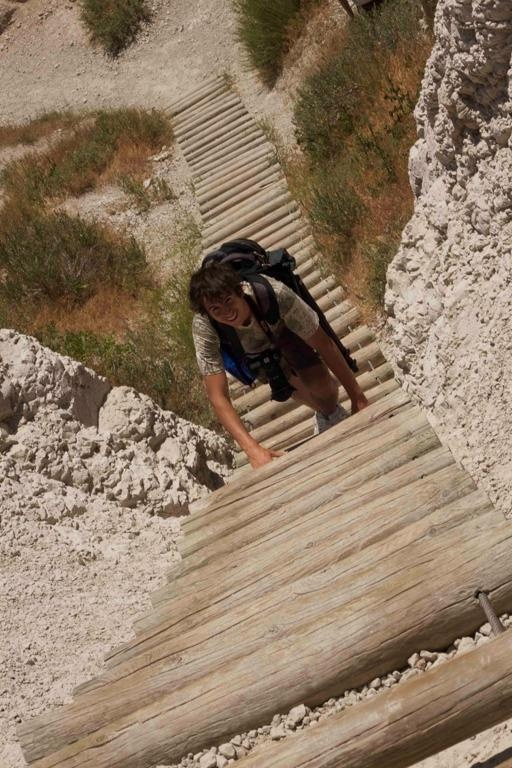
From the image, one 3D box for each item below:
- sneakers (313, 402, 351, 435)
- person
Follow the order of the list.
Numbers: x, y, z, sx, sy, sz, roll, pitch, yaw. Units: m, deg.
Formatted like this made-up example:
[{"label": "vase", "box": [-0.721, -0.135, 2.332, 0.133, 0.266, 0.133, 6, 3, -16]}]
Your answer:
[{"label": "sneakers", "box": [0.521, 0.238, 11.420, 0.154, 0.151, 0.086, -30, 23, 13]}, {"label": "person", "box": [0.175, -0.116, 11.561, 0.594, 1.223, 0.982, -31, 36, 24]}]
